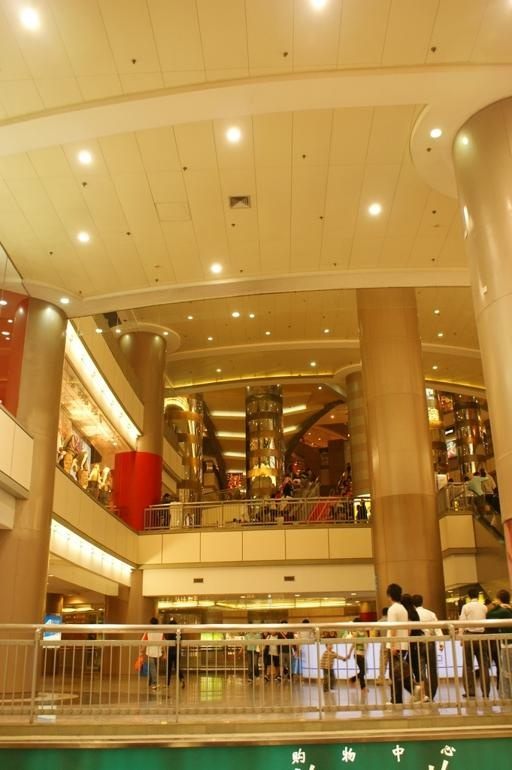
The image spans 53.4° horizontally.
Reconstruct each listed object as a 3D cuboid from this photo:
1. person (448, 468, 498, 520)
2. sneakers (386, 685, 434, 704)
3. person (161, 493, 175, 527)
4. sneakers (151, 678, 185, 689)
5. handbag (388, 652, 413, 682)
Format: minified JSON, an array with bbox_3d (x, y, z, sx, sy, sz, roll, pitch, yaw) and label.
[{"bbox_3d":[6.377,3.220,14.461,0.835,0.828,1.649,0,-20,4],"label":"person"},{"bbox_3d":[1.420,2.861,4.722,0.362,0.197,0.276,-13,-27,20],"label":"sneakers"},{"bbox_3d":[-3.639,5.212,20.497,0.725,0.830,0.740,3,2,-10],"label":"person"},{"bbox_3d":[-0.856,2.857,4.847,0.425,0.081,0.063,-17,-28,25],"label":"sneakers"},{"bbox_3d":[1.351,2.640,4.744,0.208,0.308,0.133,-5,-52,8],"label":"handbag"}]
